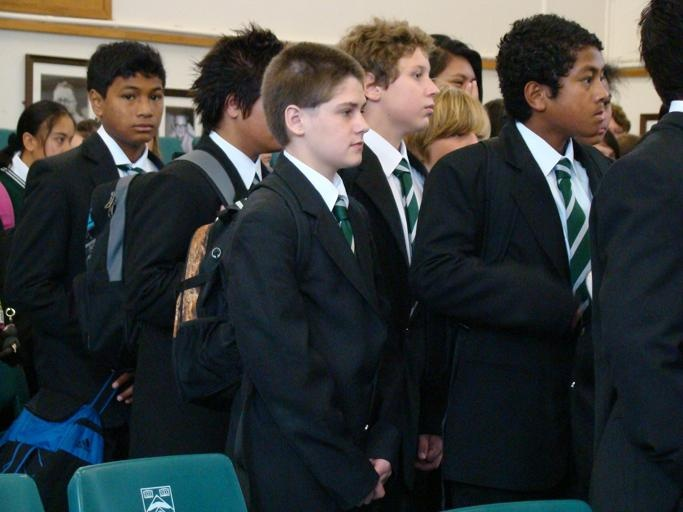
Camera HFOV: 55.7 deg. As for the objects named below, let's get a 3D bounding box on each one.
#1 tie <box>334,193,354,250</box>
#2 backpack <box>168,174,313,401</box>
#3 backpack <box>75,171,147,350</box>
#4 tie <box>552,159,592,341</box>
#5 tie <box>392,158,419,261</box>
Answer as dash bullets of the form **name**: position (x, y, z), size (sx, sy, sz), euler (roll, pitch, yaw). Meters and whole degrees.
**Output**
- **tie**: position (0.016, -0.093, 1.783), size (0.062, 0.152, 0.093), euler (2, 5, 29)
- **backpack**: position (-0.342, 0.119, 1.755), size (0.228, 0.552, 0.206), euler (1, 4, 13)
- **backpack**: position (-0.771, 0.030, 2.146), size (0.212, 0.588, 0.127), euler (3, 5, 34)
- **tie**: position (0.703, -0.048, 1.936), size (0.095, 0.504, 0.171), euler (-1, 4, -10)
- **tie**: position (0.230, -0.181, 2.259), size (0.053, 0.423, 0.045), euler (-11, -6, 27)
